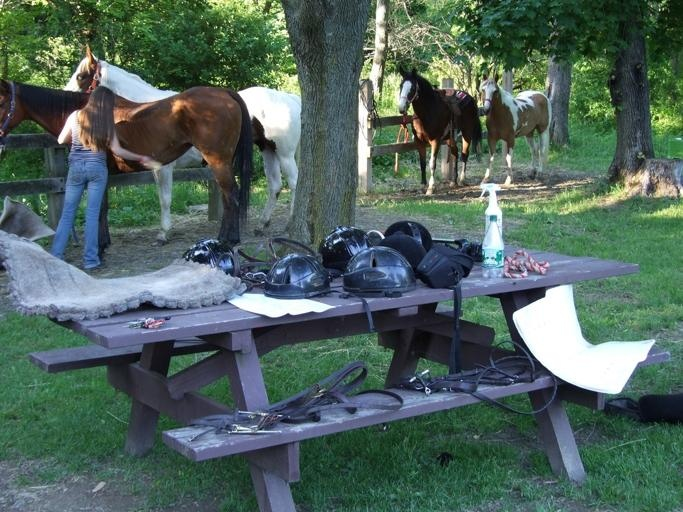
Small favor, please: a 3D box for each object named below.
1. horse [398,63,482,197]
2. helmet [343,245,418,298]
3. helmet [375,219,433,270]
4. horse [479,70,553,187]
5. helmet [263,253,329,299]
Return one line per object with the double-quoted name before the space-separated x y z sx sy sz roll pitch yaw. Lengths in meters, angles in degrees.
"horse" 2.214 -2.795 15.593 0.906 2.708 3.427 6 11 36
"helmet" 0.219 0.060 4.073 0.296 0.198 0.317 0 1 12
"helmet" 0.453 -0.114 4.551 0.356 0.360 0.253 -10 19 -39
"horse" 4.064 -2.957 16.334 0.713 2.470 3.062 9 15 44
"helmet" -0.264 0.108 4.057 0.312 0.187 0.238 -13 16 -39
